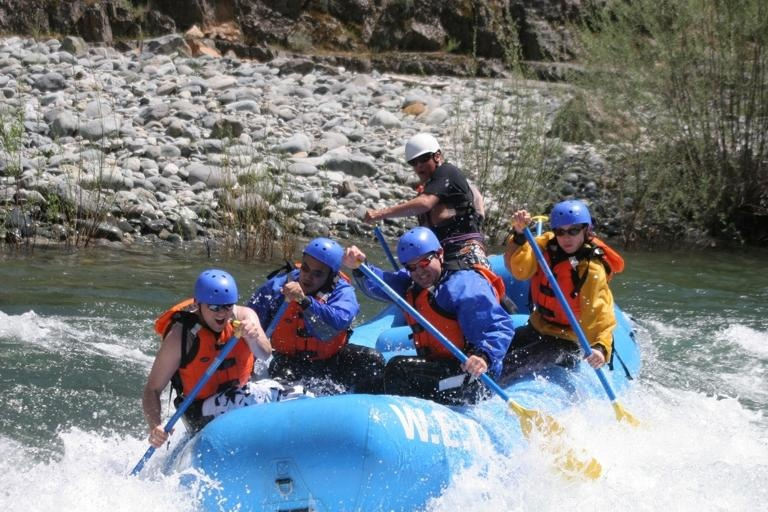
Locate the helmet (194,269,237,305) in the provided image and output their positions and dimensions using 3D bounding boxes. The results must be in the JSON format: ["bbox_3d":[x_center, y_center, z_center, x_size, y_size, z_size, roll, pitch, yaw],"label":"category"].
[{"bbox_3d":[-1.688,0.363,9.311,0.436,0.484,0.579,2,13,-13],"label":"helmet"}]

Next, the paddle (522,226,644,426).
[{"bbox_3d":[2.178,0.872,10.377,0.345,2.614,0.175,-34,-26,26],"label":"paddle"}]

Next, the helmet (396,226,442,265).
[{"bbox_3d":[0.383,-0.050,9.795,0.318,0.361,0.430,-18,-21,24],"label":"helmet"}]

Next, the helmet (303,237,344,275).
[{"bbox_3d":[-0.638,-0.018,9.805,0.309,0.303,0.379,36,16,37],"label":"helmet"}]
